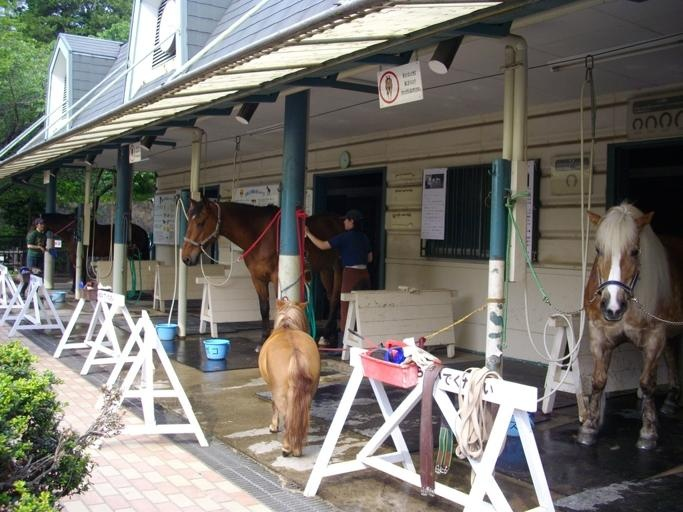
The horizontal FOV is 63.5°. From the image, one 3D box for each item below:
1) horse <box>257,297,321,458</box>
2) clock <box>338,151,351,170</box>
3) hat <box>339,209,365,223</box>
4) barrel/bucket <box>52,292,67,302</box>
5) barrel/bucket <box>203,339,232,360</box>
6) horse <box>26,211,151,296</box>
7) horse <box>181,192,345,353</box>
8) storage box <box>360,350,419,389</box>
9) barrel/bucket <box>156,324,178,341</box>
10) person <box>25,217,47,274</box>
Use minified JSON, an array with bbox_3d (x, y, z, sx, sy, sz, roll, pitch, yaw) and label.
[{"bbox_3d":[-0.437,1.013,4.835,0.457,1.067,1.619,2,7,-8],"label":"horse"},{"bbox_3d":[0.063,-1.752,10.077,0.095,0.347,0.268,0,3,-31],"label":"clock"},{"bbox_3d":[0.177,-0.565,8.022,0.210,0.185,0.214,2,3,-8],"label":"hat"},{"bbox_3d":[-6.603,0.961,12.884,0.288,0.247,0.578,0,4,-30],"label":"barrel/bucket"},{"bbox_3d":[-1.682,1.260,7.427,0.306,0.266,0.267,2,3,-6],"label":"barrel/bucket"},{"bbox_3d":[-6.444,-0.141,14.642,2.875,1.971,0.733,-2,11,-28],"label":"horse"},{"bbox_3d":[-0.872,0.308,8.513,3.017,2.232,0.855,3,-6,-30],"label":"horse"},{"bbox_3d":[0.339,0.761,3.765,0.358,0.147,0.248,7,8,43],"label":"storage box"},{"bbox_3d":[-2.697,1.169,8.540,0.333,0.274,0.399,-3,13,-24],"label":"barrel/bucket"},{"bbox_3d":[-7.384,-0.239,13.404,0.412,1.324,3.132,1,4,-28],"label":"person"}]
